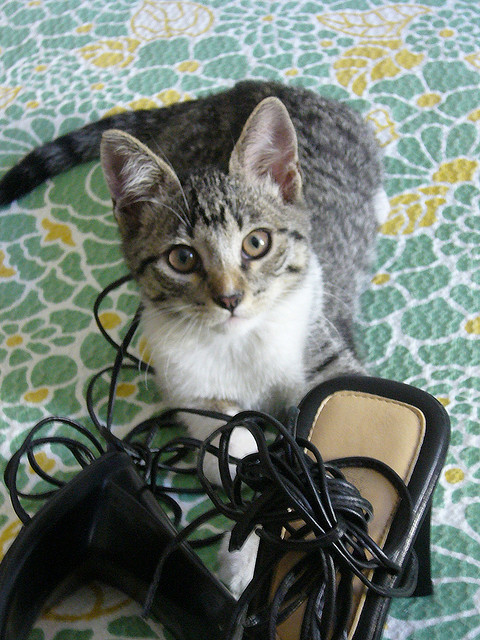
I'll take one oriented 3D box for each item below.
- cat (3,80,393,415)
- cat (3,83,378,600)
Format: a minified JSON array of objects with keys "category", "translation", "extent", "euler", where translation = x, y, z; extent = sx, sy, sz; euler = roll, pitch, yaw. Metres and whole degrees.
[{"category":"cat","translation":[0.024,-0.183,1.697],"extent":[0.803,0.515,0.857],"euler":[-10,58,-6]},{"category":"cat","translation":[-0.019,-0.153,1.563],"extent":[0.793,0.477,1.069],"euler":[-5,60,2]}]
